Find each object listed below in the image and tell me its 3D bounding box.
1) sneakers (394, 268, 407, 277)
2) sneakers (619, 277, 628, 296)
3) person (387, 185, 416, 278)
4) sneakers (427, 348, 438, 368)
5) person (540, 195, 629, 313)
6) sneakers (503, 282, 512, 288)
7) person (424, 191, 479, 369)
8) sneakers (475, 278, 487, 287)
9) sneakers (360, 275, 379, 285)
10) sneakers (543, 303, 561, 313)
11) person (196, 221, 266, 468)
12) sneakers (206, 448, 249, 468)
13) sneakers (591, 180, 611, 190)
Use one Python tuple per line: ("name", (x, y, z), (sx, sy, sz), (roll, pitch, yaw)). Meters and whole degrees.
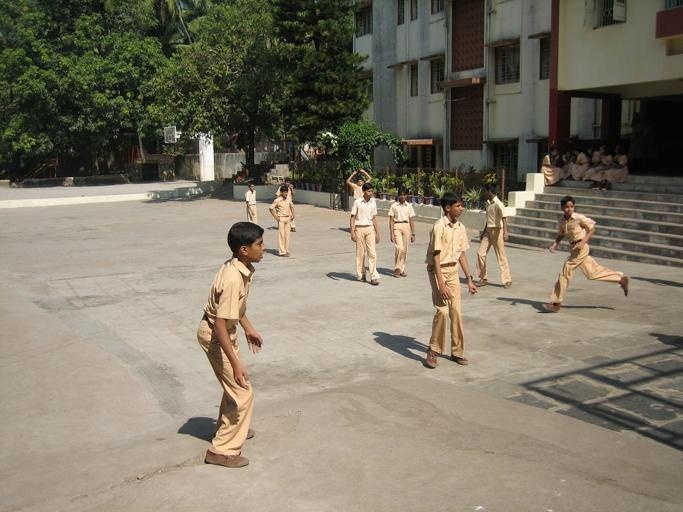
("sneakers", (1.421, 0.388, 14.685), (0.306, 0.197, 0.262), (-4, 6, -5))
("sneakers", (5.410, 0.581, 11.809), (0.108, 0.383, 0.162), (-5, -22, 16))
("person", (1.468, -0.565, 14.846), (0.557, 2.035, 1.261), (-3, 6, 5))
("sneakers", (1.307, 1.459, 8.924), (0.165, 0.263, 0.238), (-2, 6, 8))
("person", (4.446, -0.080, 11.457), (1.354, 2.083, 1.011), (-8, 8, -40))
("sneakers", (3.557, 0.608, 13.221), (0.135, 0.089, 0.142), (5, 39, 31))
("person", (1.544, 0.338, 8.931), (0.533, 2.454, 0.829), (2, 8, 42))
("sneakers", (3.090, 0.593, 13.634), (0.287, 0.215, 0.119), (1, 9, 7))
("sneakers", (0.651, 0.548, 13.937), (0.158, 0.210, 0.467), (-4, 7, -37))
("sneakers", (3.883, 0.931, 11.387), (0.283, 0.174, 0.249), (-1, 7, 18))
("person", (-1.109, 0.868, 6.269), (0.740, 2.375, 0.614), (-6, 7, -26))
("sneakers", (-1.132, 2.008, 6.179), (0.418, 0.192, 0.162), (1, 12, 0))
("sneakers", (8.176, -2.226, 19.443), (0.573, 0.244, 0.182), (10, 7, 32))
